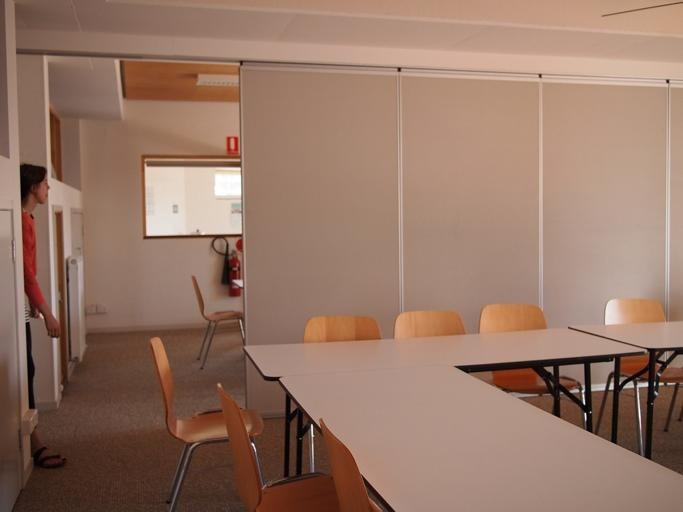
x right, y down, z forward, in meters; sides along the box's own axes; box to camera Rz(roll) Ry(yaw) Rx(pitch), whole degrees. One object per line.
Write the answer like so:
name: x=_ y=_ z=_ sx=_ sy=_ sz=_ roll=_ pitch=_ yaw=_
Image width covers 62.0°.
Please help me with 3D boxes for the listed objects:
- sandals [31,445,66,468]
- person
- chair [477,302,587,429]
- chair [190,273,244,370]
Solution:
sandals: x=-2.061 y=1.420 z=4.006 sx=0.168 sy=0.093 sz=0.138 roll=12 pitch=0 yaw=-26
person: x=-2.236 y=0.382 z=4.192 sx=0.279 sy=2.089 sz=1.064 roll=-6 pitch=12 yaw=-27
chair: x=1.299 y=0.868 z=3.929 sx=0.594 sy=1.066 sz=0.696 roll=1 pitch=-6 yaw=-12
chair: x=-1.410 y=0.734 z=6.708 sx=0.606 sy=1.016 sz=0.523 roll=-4 pitch=1 yaw=-16
